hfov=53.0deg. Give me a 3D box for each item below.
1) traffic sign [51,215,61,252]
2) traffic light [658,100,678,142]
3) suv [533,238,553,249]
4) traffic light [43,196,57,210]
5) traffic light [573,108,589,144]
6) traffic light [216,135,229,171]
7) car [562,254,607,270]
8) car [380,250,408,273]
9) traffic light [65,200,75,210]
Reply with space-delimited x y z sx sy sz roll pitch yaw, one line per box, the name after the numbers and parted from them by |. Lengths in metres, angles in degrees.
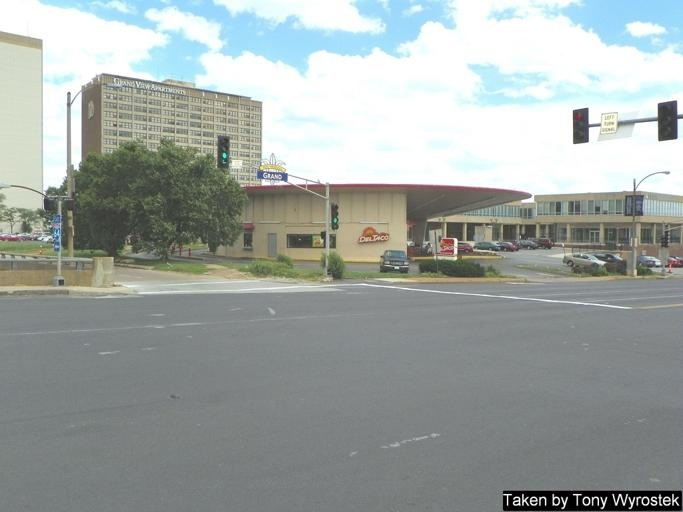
-12.818 -1.009 30.987 0.295 1.652 0.844 -2 6 -27 | traffic sign
11.139 -4.642 23.462 0.626 1.371 1.384 3 5 24 | traffic light
29.586 -1.733 100.075 1.730 1.147 2.389 0 0 -21 | suv
-13.956 -2.476 32.991 0.696 0.769 0.687 3 -4 -43 | traffic light
8.943 -4.850 25.643 0.540 1.248 0.261 2 5 8 | traffic light
-5.283 -4.709 30.878 0.541 1.437 1.246 0 5 -11 | traffic light
20.599 0.493 58.114 2.342 1.143 6.845 2 5 8 | car
3.634 0.400 46.840 1.744 1.335 2.189 1 5 -1 | car
-14.112 -2.675 35.782 0.348 0.550 3.054 -1 5 -23 | traffic light
